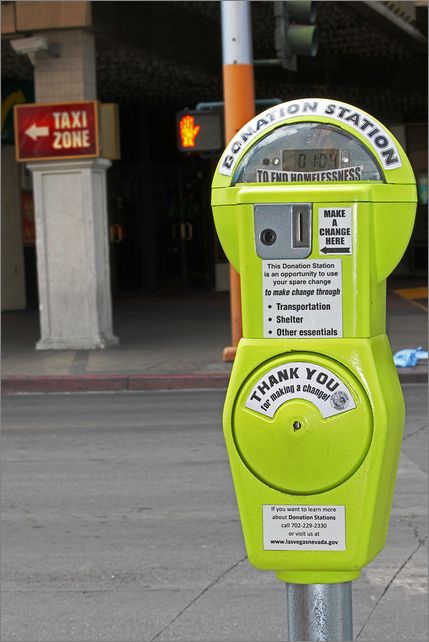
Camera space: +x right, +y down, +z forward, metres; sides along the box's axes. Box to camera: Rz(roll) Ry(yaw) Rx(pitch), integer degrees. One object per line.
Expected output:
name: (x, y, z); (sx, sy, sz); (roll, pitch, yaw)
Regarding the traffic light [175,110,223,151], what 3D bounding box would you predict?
traffic light: (-0.126, -1.706, 9.029); (0.420, 0.329, 0.143); (0, 2, 10)
